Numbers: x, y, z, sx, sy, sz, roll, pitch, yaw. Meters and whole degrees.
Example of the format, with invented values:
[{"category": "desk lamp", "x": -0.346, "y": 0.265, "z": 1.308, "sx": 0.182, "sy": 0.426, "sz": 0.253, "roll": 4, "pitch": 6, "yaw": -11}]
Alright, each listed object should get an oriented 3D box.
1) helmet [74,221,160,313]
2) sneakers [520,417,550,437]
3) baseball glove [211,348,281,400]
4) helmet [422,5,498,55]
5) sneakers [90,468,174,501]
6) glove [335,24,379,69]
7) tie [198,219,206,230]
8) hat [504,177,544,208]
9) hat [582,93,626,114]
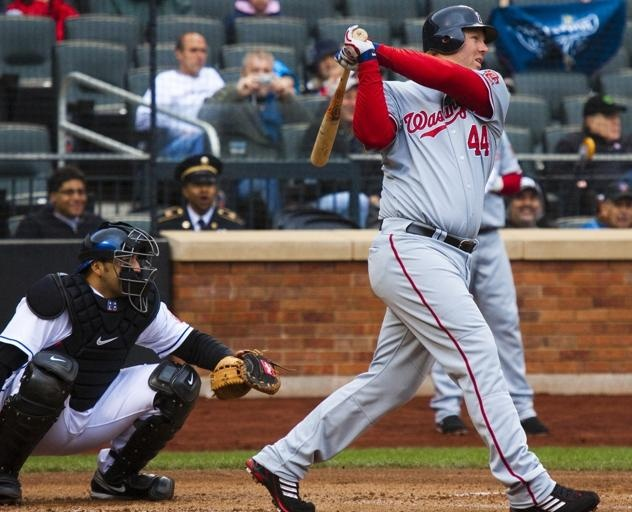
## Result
[{"category": "helmet", "x": -1.075, "y": 0.042, "z": 9.826, "sx": 0.532, "sy": 0.528, "sz": 0.429, "roll": -1, "pitch": -2, "yaw": 4}, {"category": "sneakers", "x": 1.421, "y": 1.100, "z": 11.164, "sx": 0.104, "sy": 0.085, "sz": 0.212, "roll": -1, "pitch": -5, "yaw": -16}, {"category": "baseball glove", "x": -0.387, "y": 0.700, "z": 9.846, "sx": 0.364, "sy": 0.250, "sz": 0.172, "roll": -13, "pitch": 37, "yaw": 0}, {"category": "helmet", "x": 0.816, "y": -1.256, "z": 9.690, "sx": 0.373, "sy": 0.205, "sz": 0.272, "roll": 1, "pitch": -1, "yaw": 12}, {"category": "sneakers", "x": -1.038, "y": 1.310, "z": 9.952, "sx": 0.397, "sy": 0.139, "sz": 0.192, "roll": -1, "pitch": -6, "yaw": 7}, {"category": "glove", "x": 0.267, "y": -1.147, "z": 9.613, "sx": 0.188, "sy": 0.244, "sz": 0.117, "roll": 45, "pitch": 12, "yaw": 8}, {"category": "tie", "x": -0.793, "y": -0.215, "z": 12.375, "sx": 0.053, "sy": 0.068, "sz": 0.017, "roll": -5, "pitch": -16, "yaw": -23}, {"category": "hat", "x": 1.516, "y": -0.434, "z": 12.337, "sx": 0.212, "sy": 0.319, "sz": 0.165, "roll": 2, "pitch": 43, "yaw": 7}, {"category": "hat", "x": 2.125, "y": -1.104, "z": 12.644, "sx": 0.249, "sy": 0.086, "sz": 0.154, "roll": -2, "pitch": 8, "yaw": -14}]
